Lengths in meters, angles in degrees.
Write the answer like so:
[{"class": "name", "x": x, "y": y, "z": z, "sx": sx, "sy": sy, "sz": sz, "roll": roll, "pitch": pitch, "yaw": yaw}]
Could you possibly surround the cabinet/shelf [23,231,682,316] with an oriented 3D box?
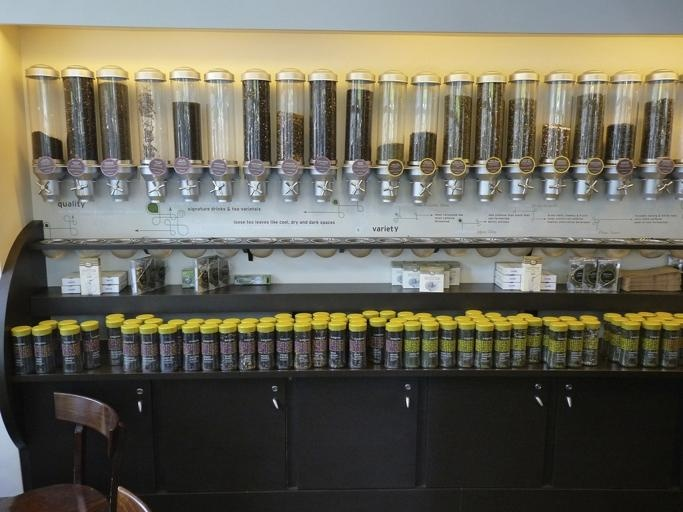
[{"class": "cabinet/shelf", "x": 0.063, "y": 0.053, "z": 4.178, "sx": 3.643, "sy": 0.531, "sz": 0.308, "roll": -2, "pitch": 0, "yaw": -3}]
